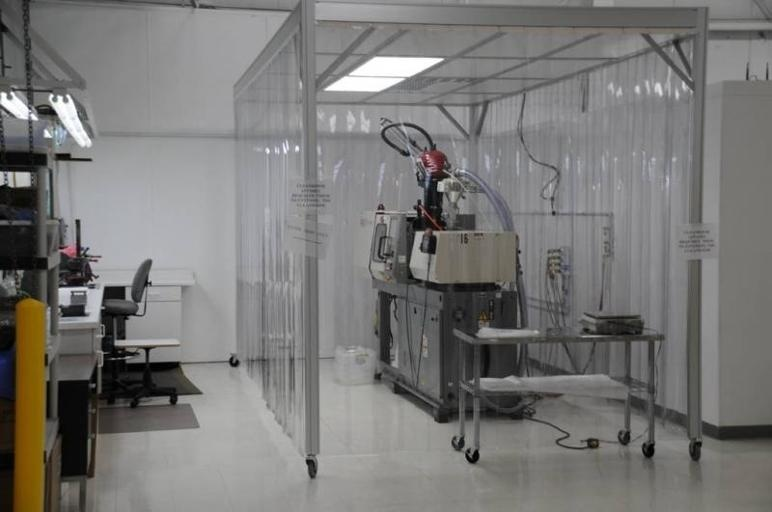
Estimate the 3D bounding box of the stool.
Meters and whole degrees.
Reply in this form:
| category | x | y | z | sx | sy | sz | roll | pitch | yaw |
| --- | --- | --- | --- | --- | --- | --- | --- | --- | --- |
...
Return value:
| category | x | y | z | sx | sy | sz | roll | pitch | yaw |
| --- | --- | --- | --- | --- | --- | --- | --- | --- | --- |
| stool | -2.588 | 1.237 | 7.271 | 0.693 | 0.618 | 0.704 | 2 | -2 | -25 |

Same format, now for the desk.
| category | x | y | z | sx | sy | sz | roll | pitch | yaw |
| --- | --- | --- | --- | --- | --- | --- | --- | --- | --- |
| desk | -2.505 | 1.079 | 5.869 | 0.617 | 1.410 | 2.559 | -5 | 13 | -21 |

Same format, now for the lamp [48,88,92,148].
| category | x | y | z | sx | sy | sz | roll | pitch | yaw |
| --- | --- | --- | --- | --- | --- | --- | --- | --- | --- |
| lamp | -2.903 | -1.275 | 6.117 | 0.212 | 0.438 | 1.843 | -5 | 13 | -22 |

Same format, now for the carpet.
| category | x | y | z | sx | sy | sz | roll | pitch | yaw |
| --- | --- | --- | --- | --- | --- | --- | --- | --- | --- |
| carpet | -2.707 | 1.497 | 7.789 | 0.885 | 0.012 | 0.980 | 2 | 17 | -22 |
